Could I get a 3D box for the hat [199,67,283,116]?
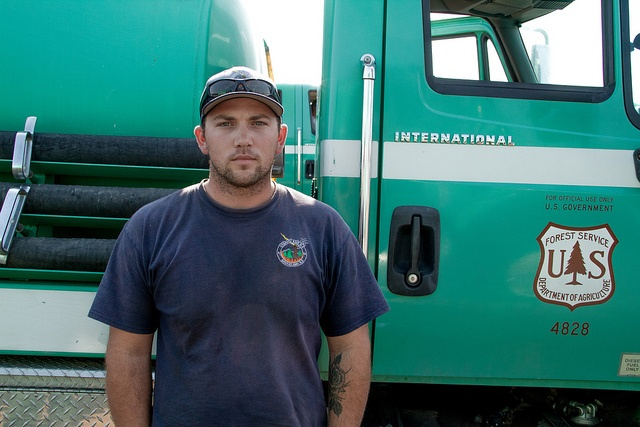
[{"bbox_3d":[-0.454,-0.681,3.029,0.423,0.322,0.425,-3,-3,-14],"label":"hat"}]
